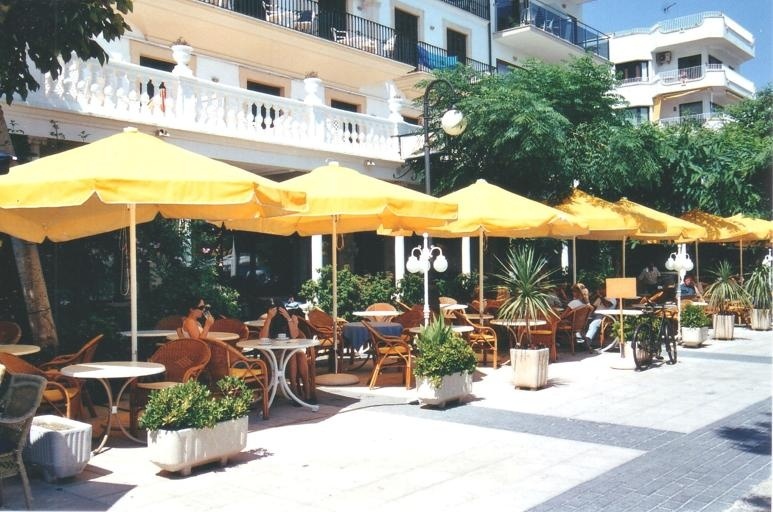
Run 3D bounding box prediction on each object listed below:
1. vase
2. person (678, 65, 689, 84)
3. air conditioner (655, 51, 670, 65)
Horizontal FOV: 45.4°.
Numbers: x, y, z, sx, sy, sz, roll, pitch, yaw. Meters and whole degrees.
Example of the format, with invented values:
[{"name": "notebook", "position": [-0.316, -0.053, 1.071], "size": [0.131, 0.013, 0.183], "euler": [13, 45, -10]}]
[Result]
[{"name": "vase", "position": [-5.203, 3.119, 15.078], "size": [0.955, 1.021, 1.533], "euler": [-4, 4, -24]}, {"name": "person", "position": [15.016, -9.132, 46.512], "size": [0.741, 0.550, 0.772], "euler": [-2, 7, 15]}, {"name": "air conditioner", "position": [14.673, -10.466, 48.764], "size": [0.560, 0.748, 0.979], "euler": [4, -4, -14]}]
